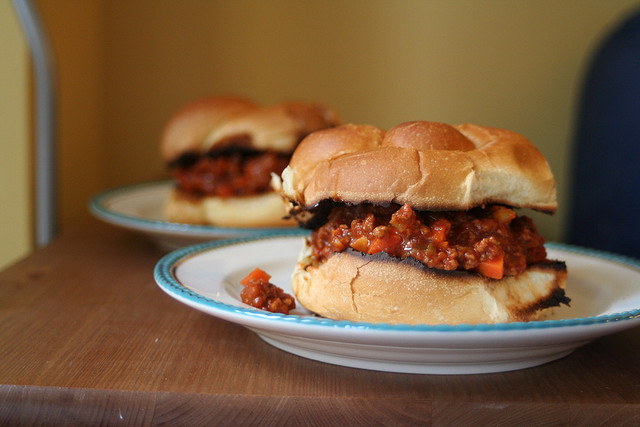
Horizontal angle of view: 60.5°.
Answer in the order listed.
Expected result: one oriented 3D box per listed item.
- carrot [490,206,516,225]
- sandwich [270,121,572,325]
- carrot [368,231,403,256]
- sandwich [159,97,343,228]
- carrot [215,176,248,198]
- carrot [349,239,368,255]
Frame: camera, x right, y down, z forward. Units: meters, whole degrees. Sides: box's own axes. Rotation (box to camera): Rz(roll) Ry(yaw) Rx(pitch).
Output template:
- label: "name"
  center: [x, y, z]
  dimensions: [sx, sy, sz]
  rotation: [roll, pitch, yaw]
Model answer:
- label: "carrot"
  center: [0.375, 0.003, 1.123]
  dimensions: [0.033, 0.014, 0.043]
  rotation: [-35, 39, -21]
- label: "sandwich"
  center: [0.207, 0.032, 1.113]
  dimensions: [0.484, 0.281, 0.463]
  rotation: [0, 0, -25]
- label: "carrot"
  center: [0.131, 0.057, 1.058]
  dimensions: [0.048, 0.048, 0.019]
  rotation: [11, 13, 0]
- label: "sandwich"
  center: [-0.204, -0.148, 1.656]
  dimensions: [0.436, 0.261, 0.447]
  rotation: [-2, 1, 27]
- label: "carrot"
  center: [-0.256, -0.073, 1.597]
  dimensions: [0.068, 0.019, 0.067]
  rotation: [-30, 19, -37]
- label: "carrot"
  center: [0.080, 0.062, 1.082]
  dimensions: [0.028, 0.025, 0.011]
  rotation: [15, 32, 20]
